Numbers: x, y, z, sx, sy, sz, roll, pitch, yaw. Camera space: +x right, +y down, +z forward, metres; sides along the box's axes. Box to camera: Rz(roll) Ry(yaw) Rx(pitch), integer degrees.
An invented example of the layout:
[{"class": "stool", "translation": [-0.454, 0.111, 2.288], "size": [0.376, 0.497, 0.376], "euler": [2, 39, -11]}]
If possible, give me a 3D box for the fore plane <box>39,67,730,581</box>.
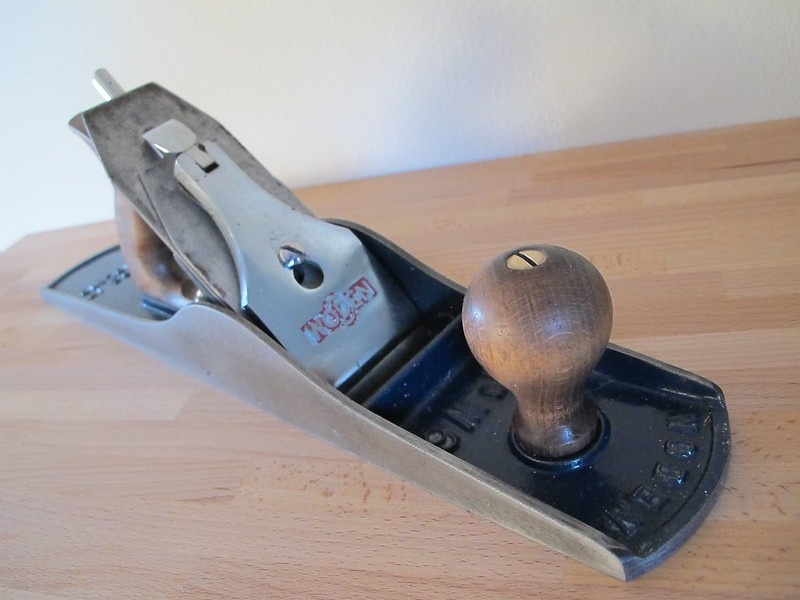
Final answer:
[{"class": "fore plane", "translation": [-0.250, -0.142, 1.716], "size": [1.885, 0.667, 0.502], "euler": [18, 55, 32]}]
